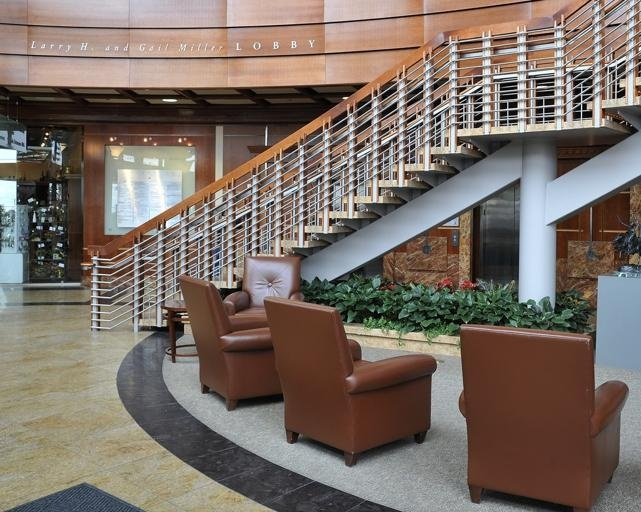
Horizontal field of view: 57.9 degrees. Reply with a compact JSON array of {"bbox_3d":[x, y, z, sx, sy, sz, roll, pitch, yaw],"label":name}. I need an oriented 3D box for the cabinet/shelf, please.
[{"bbox_3d":[-6.600,-0.593,14.045,0.943,2.483,0.368,0,5,-9],"label":"cabinet/shelf"}]
